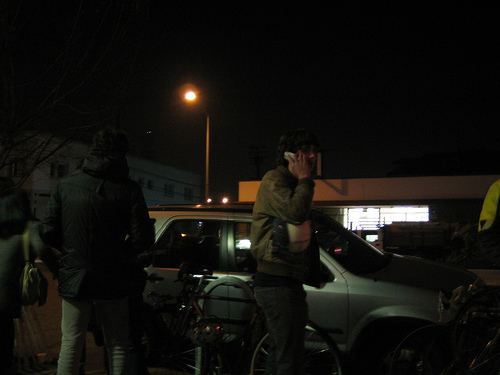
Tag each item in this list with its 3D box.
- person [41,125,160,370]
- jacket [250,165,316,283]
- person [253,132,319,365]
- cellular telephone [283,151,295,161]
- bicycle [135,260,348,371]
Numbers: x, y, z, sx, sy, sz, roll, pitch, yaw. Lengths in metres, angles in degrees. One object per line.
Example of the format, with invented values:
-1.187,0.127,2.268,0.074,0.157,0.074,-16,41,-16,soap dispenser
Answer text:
-1.407,0.554,4.910,0.981,2.210,0.354,5,-5,-15,person
0.248,0.275,5.172,0.817,1.314,1.081,-3,-3,6,jacket
0.272,0.510,4.648,0.546,2.045,0.349,3,-5,5,person
0.349,-0.283,4.754,0.036,0.074,0.130,7,-5,-36,cellular telephone
-0.223,1.378,5.398,2.151,1.350,1.098,-2,-9,15,bicycle
